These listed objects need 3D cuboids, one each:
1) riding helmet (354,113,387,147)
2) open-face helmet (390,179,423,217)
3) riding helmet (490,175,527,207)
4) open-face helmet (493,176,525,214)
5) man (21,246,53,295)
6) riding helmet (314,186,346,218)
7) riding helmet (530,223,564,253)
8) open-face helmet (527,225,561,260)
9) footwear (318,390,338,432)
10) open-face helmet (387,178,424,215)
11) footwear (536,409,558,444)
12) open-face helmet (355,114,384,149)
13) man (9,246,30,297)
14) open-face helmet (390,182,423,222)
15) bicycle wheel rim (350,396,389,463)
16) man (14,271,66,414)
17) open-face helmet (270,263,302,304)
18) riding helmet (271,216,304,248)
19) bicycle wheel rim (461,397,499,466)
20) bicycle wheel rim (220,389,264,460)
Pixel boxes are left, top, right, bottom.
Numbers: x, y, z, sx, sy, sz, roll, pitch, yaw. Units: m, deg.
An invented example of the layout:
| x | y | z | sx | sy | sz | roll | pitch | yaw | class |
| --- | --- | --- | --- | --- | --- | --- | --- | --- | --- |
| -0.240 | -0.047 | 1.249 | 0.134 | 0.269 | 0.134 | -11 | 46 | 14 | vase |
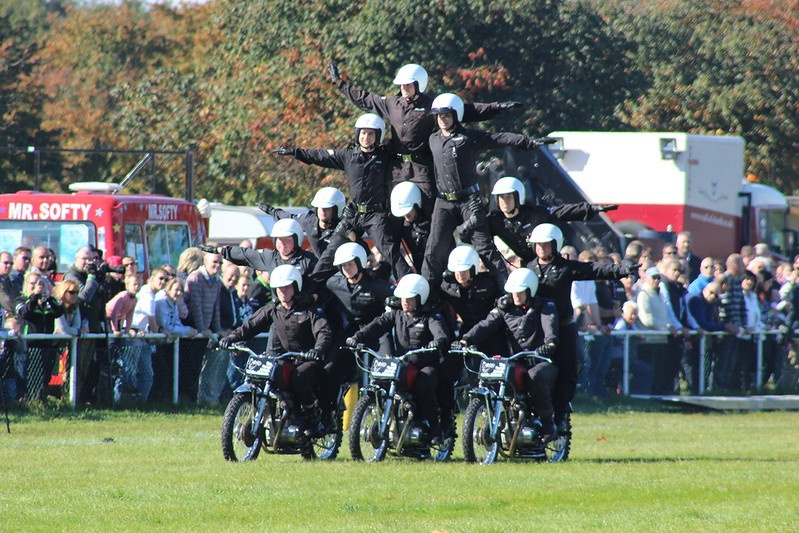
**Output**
| x | y | z | sx | sy | sz | roll | pitch | yaw | class |
| --- | --- | --- | --- | --- | --- | --- | --- | --- | --- |
| -0.628 | -3.204 | 53.292 | 0.505 | 0.661 | 0.749 | 2 | 3 | 7 | riding helmet |
| 0.195 | -1.527 | 52.917 | 0.518 | 0.497 | 0.821 | -8 | 32 | 27 | open-face helmet |
| 2.600 | -1.675 | 53.009 | 0.511 | 0.638 | 0.729 | -5 | 12 | 37 | riding helmet |
| 2.557 | -1.651 | 52.959 | 0.500 | 0.659 | 0.709 | -2 | 13 | 37 | open-face helmet |
| -8.589 | 0.206 | 54.124 | 0.728 | 1.181 | 0.588 | 4 | -21 | -19 | man |
| -1.581 | -1.549 | 53.578 | 0.570 | 0.592 | 0.687 | 10 | 32 | 34 | riding helmet |
| 3.448 | -0.623 | 52.624 | 0.484 | 0.601 | 0.719 | 8 | 19 | 34 | riding helmet |
| 3.396 | -0.544 | 52.510 | 0.549 | 0.831 | 0.780 | -1 | 1 | 25 | open-face helmet |
| -1.600 | 3.398 | 52.012 | 0.248 | 0.817 | 0.548 | -2 | 12 | -4 | footwear |
| 0.143 | -1.501 | 52.777 | 0.510 | 0.487 | 0.809 | -8 | 32 | 27 | open-face helmet |
| 3.411 | 3.797 | 51.904 | 0.261 | 0.620 | 0.782 | -10 | 5 | 29 | footwear |
| -0.631 | -3.164 | 53.298 | 0.507 | 0.689 | 0.757 | 3 | 2 | 8 | open-face helmet |
| -9.020 | 0.259 | 54.343 | 0.274 | 0.922 | 0.780 | -16 | -24 | 30 | man |
| 0.179 | -1.510 | 52.880 | 0.515 | 0.492 | 0.829 | -7 | 35 | 30 | open-face helmet |
| -0.644 | 3.742 | 51.476 | 0.904 | 1.565 | 0.461 | 2 | -8 | -2 | bicycle wheel rim |
| -8.461 | 1.740 | 53.703 | 1.017 | 2.964 | 0.672 | 6 | -9 | -27 | man |
| -2.549 | 0.387 | 51.847 | 0.524 | 0.660 | 0.840 | -3 | -41 | -2 | open-face helmet |
| -2.558 | -0.739 | 53.018 | 0.743 | 0.672 | 0.535 | 4 | -9 | -16 | riding helmet |
| 1.869 | 3.847 | 51.430 | 0.370 | 1.357 | 1.174 | 2 | 9 | 40 | bicycle wheel rim |
| -3.513 | 3.714 | 51.236 | 0.974 | 1.616 | 0.342 | 6 | -9 | -28 | bicycle wheel rim |
